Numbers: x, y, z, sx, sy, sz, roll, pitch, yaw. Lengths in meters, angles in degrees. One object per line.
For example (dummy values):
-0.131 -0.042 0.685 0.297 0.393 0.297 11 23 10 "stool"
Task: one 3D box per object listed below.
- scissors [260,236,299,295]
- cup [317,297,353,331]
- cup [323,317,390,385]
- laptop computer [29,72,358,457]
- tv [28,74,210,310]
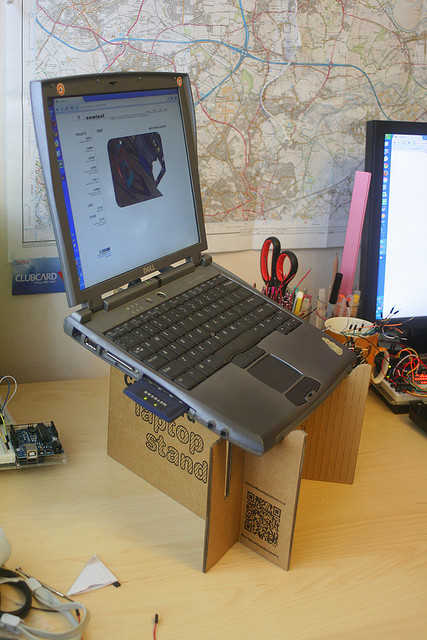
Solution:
0.102 -0.086 0.812 0.014 0.101 0.079 -16 39 -27 "scissors"
0.189 -0.012 0.808 0.048 0.051 0.046 2 23 -1 "cup"
0.234 0.068 0.774 0.092 0.080 0.059 18 -10 -36 "cup"
-0.006 -0.087 0.528 0.328 0.269 0.249 30 37 30 "laptop computer"
-0.103 -0.143 0.569 0.034 0.254 0.289 4 20 34 "tv"
